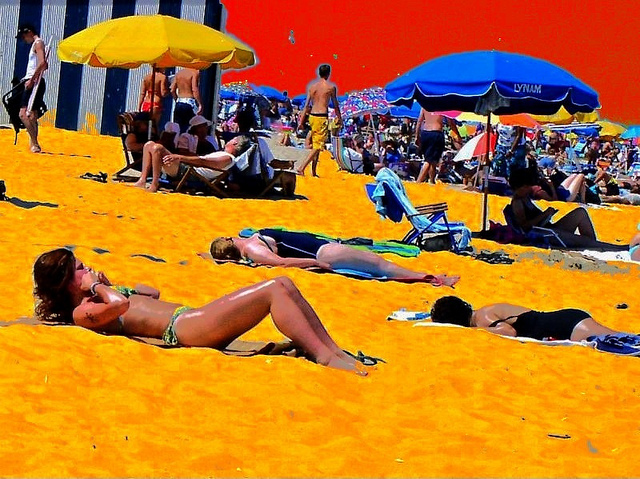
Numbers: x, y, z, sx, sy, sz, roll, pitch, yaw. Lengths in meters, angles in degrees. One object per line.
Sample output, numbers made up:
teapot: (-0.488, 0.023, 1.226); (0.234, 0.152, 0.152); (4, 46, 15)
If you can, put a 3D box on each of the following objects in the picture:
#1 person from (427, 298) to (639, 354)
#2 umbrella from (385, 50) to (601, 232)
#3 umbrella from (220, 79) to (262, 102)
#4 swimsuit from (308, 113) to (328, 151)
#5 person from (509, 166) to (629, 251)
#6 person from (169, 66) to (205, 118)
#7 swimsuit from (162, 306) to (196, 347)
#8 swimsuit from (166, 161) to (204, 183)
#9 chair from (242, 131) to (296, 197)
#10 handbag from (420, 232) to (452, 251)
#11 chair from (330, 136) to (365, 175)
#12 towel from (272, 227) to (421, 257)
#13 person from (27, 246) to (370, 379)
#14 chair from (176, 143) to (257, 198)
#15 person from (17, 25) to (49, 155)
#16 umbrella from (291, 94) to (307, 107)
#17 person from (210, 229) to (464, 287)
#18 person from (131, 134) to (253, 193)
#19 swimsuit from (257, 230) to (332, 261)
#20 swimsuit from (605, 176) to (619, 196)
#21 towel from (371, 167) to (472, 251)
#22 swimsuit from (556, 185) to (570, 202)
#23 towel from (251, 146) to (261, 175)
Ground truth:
person: (1.811, 0.689, 7.152); (1.964, 0.313, 0.509); (5, 3, 10)
umbrella: (2.239, -1.022, 10.854); (2.218, 1.939, 2.170); (23, -20, -29)
umbrella: (-2.935, -5.454, 31.026); (1.324, 0.575, 1.680); (-7, 16, -38)
swimsuit: (-0.024, -1.837, 14.445); (0.346, 0.602, 0.265); (8, 6, -3)
person: (3.349, -0.343, 11.015); (1.853, 1.080, 0.641); (2, 0, 4)
person: (-2.089, -2.373, 13.471); (0.410, 0.739, 1.191); (7, 6, -15)
swimsuit: (-1.022, 0.624, 6.195); (0.219, 0.269, 0.109); (18, -17, 6)
swimsuit: (-1.907, -0.950, 11.824); (0.301, 0.127, 0.373); (10, 15, 19)
chair: (-0.797, -1.120, 13.057); (1.023, 1.157, 0.790); (-5, 14, -20)
handbag: (1.415, 0.018, 10.326); (0.273, 0.179, 0.265); (1, -4, 23)
chair: (0.478, -1.698, 16.652); (0.616, 0.641, 0.516); (-1, -2, 5)
towel: (0.539, 0.031, 9.427); (1.850, 0.301, 1.055); (3, 5, 1)
person: (-0.950, 0.477, 6.372); (2.546, 0.821, 0.954); (2, 3, 5)
chair: (-1.572, -0.994, 12.168); (1.208, 0.963, 0.796); (12, 3, -6)
person: (-4.585, -2.384, 13.510); (0.522, 1.999, 0.703); (7, 6, -18)
umbrella: (-0.871, -5.757, 35.149); (0.496, 0.487, 1.029); (7, 6, -3)
person: (0.180, 0.130, 8.495); (2.386, 0.488, 0.870); (5, -2, 4)
person: (-1.758, -1.085, 11.977); (1.387, 0.710, 0.948); (2, 4, -27)
swimsuit: (-0.251, 0.038, 8.581); (0.727, 0.236, 0.259); (6, 6, -12)
swimsuit: (5.377, -0.971, 15.603); (0.236, 0.241, 0.524); (10, 6, 18)
towel: (1.204, -0.383, 10.255); (1.182, 0.863, 0.379); (8, 6, 1)
swimsuit: (4.027, -0.780, 14.077); (0.100, 0.212, 0.232); (28, 23, 13)
towel: (-0.906, -1.142, 12.305); (0.068, 0.390, 0.119); (12, 7, 26)
